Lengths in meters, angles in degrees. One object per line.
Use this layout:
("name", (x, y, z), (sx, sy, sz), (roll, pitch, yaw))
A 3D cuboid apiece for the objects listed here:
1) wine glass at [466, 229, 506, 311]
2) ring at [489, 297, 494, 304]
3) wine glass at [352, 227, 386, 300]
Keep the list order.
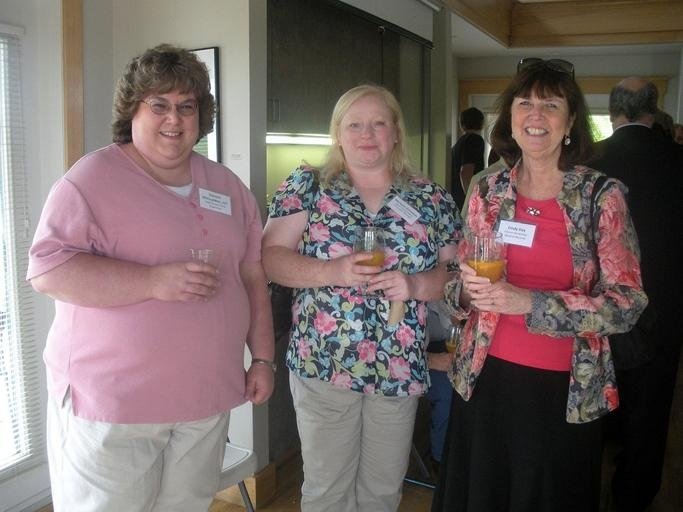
("wine glass", (0.564, 0.020, 2.111), (0.166, 0.171, 0.170), (-6, -17, 29))
("ring", (0.552, 0.162, 2.088), (0.014, 0.014, 0.014), (-22, 32, 15))
("wine glass", (0.110, -0.032, 2.143), (0.130, 0.251, 0.142), (1, -8, 7))
